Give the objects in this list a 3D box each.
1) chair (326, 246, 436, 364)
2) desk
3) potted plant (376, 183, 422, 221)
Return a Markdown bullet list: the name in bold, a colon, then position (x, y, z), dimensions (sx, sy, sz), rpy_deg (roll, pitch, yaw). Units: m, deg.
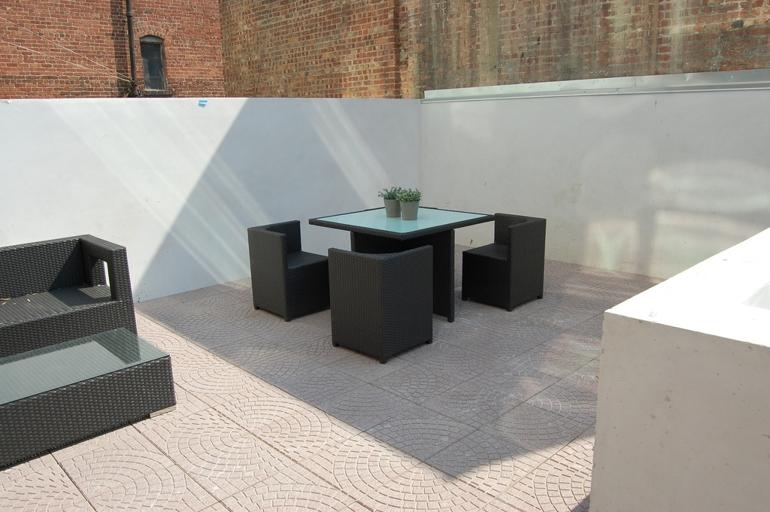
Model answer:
- **chair**: position (-0.144, 0.278, 5.537), dimensions (0.941, 1.348, 1.059), rpy_deg (14, 22, 39)
- **desk**: position (0.254, 0.188, 6.180), dimensions (1.682, 1.020, 1.697), rpy_deg (-2, -1, -24)
- **potted plant**: position (0.224, -0.586, 5.909), dimensions (0.369, 0.354, 0.506), rpy_deg (-10, 13, -43)
